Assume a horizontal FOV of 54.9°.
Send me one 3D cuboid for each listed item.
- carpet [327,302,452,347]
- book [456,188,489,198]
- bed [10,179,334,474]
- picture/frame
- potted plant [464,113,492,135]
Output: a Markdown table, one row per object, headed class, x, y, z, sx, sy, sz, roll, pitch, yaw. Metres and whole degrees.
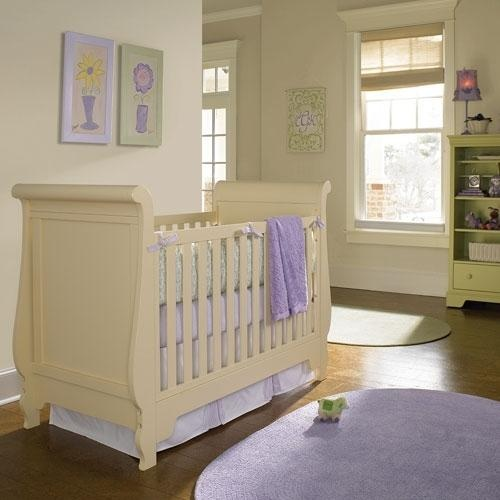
| class | x | y | z | sx | sy | sz | roll | pitch | yaw |
| --- | --- | --- | --- | --- | --- | --- | --- | --- | --- |
| carpet | 1.039 | 0.566 | 3.593 | 0.866 | 0.056 | 1.091 | 1 | 4 | 12 |
| book | 1.892 | -0.483 | 4.090 | 0.239 | 0.075 | 0.124 | 2 | 4 | 29 |
| bed | -0.345 | 0.214 | 2.277 | 0.937 | 1.281 | 1.538 | 4 | 6 | 37 |
| picture/frame | -0.757 | -0.880 | 2.712 | 0.081 | 0.636 | 0.704 | 2 | 4 | 32 |
| potted plant | 1.920 | -1.050 | 4.062 | 0.212 | 0.162 | 0.151 | 2 | 4 | 25 |
